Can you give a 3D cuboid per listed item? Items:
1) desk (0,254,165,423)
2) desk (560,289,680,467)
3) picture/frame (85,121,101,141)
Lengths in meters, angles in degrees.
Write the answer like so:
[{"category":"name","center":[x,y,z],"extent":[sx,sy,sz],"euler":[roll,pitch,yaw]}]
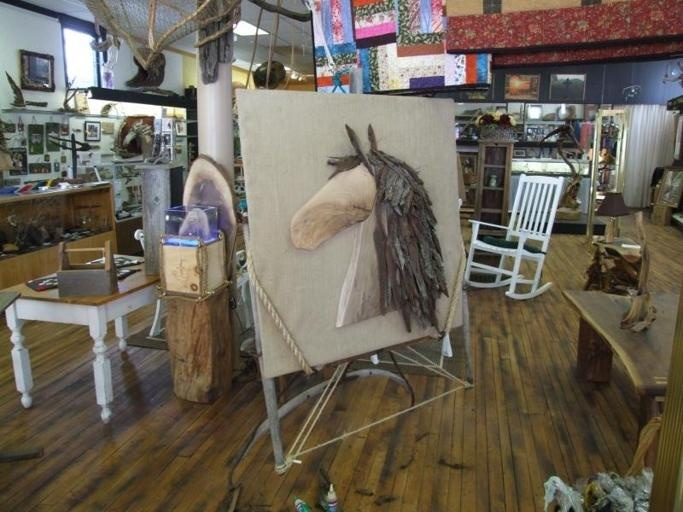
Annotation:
[{"category":"desk","center":[-1.761,0.571,3.338],"extent":[0.871,0.786,0.642],"euler":[5,17,14]},{"category":"desk","center":[1.543,0.689,2.713],"extent":[0.474,0.314,0.987],"euler":[-3,24,11]},{"category":"picture/frame","center":[-3.191,-1.622,6.210],"extent":[0.027,0.269,0.249],"euler":[1,6,29]}]
